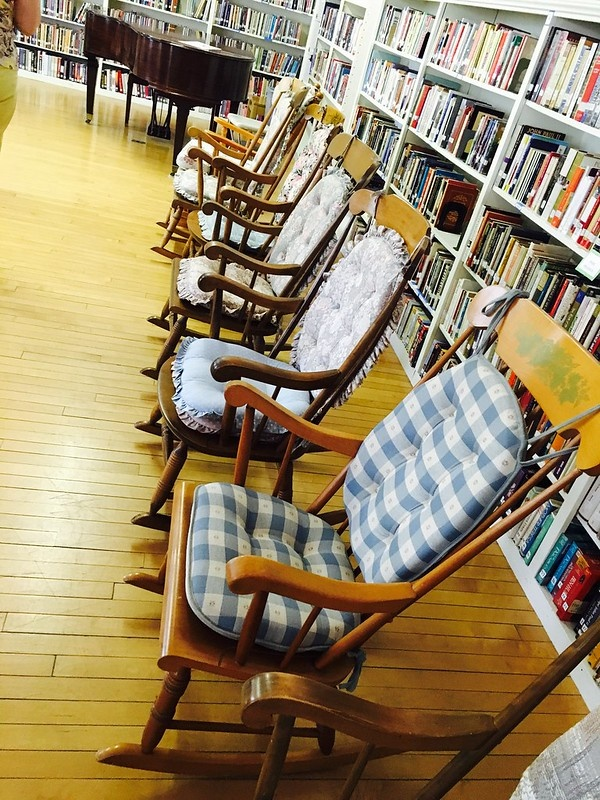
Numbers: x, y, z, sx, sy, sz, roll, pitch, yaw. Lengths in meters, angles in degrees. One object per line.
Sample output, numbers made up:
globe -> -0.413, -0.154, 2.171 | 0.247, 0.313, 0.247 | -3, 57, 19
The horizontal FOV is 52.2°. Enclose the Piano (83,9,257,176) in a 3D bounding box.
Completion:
Piano -> -1.368, -2.591, 4.952 | 1.161, 0.549, 0.626 | 21, 18, 10
